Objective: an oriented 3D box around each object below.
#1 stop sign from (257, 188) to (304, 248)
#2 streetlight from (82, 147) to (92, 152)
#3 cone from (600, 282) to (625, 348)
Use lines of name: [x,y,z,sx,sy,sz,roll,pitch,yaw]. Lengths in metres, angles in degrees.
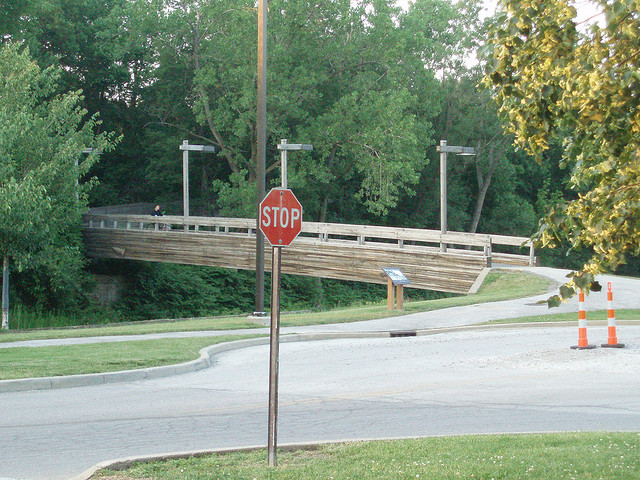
stop sign: [-0.901,-0.482,26.828,0.925,1.412,0.880,-2,11,2]
streetlight: [-10.067,-3.848,50.547,0.336,0.199,1.110,-4,10,-12]
cone: [8.327,2.116,33.066,0.826,1.791,0.848,-5,-4,38]
